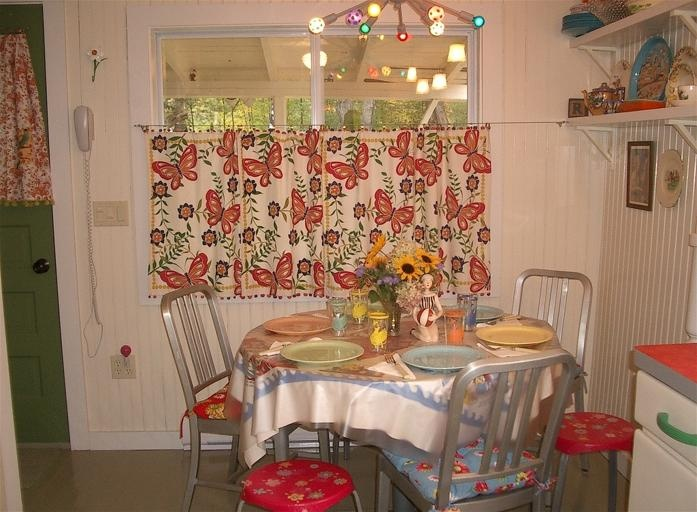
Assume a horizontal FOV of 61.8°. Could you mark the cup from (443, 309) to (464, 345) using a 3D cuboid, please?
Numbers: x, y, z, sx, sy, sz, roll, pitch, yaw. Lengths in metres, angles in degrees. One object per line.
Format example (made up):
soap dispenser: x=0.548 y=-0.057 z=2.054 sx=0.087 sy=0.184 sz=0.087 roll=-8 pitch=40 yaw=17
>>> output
cup: x=0.492 y=0.332 z=2.720 sx=0.094 sy=0.168 sz=0.100 roll=-4 pitch=25 yaw=2

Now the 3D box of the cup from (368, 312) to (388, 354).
cup: x=0.145 y=0.352 z=2.731 sx=0.103 sy=0.180 sz=0.115 roll=5 pitch=18 yaw=14

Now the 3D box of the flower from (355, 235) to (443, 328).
flower: x=0.223 y=0.160 z=2.939 sx=0.347 sy=0.398 sz=0.402 roll=22 pitch=10 yaw=34

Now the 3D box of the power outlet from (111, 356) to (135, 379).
power outlet: x=-1.490 y=0.723 z=3.815 sx=0.131 sy=0.142 sz=0.019 roll=0 pitch=5 yaw=-4

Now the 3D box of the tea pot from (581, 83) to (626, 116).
tea pot: x=1.518 y=-0.918 z=3.469 sx=0.152 sy=0.189 sz=0.237 roll=-6 pitch=9 yaw=-43

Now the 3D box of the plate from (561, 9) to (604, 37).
plate: x=1.394 y=-1.359 z=3.490 sx=0.158 sy=0.061 sz=0.158 roll=-6 pitch=7 yaw=-37

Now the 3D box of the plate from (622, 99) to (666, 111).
plate: x=1.541 y=-0.795 z=3.084 sx=0.245 sy=0.063 sz=0.165 roll=10 pitch=17 yaw=43

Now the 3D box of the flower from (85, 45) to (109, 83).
flower: x=-1.579 y=-1.208 z=3.634 sx=0.145 sy=0.279 sz=0.102 roll=7 pitch=14 yaw=-23

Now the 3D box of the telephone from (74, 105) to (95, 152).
telephone: x=-1.649 y=-0.784 z=3.630 sx=0.120 sy=0.279 sz=0.077 roll=-7 pitch=13 yaw=-25

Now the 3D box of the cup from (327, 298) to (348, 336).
cup: x=-0.061 y=0.317 z=2.898 sx=0.106 sy=0.163 sz=0.108 roll=-2 pitch=4 yaw=0

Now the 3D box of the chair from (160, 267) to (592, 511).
chair: x=0.189 y=0.543 z=2.458 sx=0.992 sy=0.562 sz=0.916 roll=1 pitch=15 yaw=6
